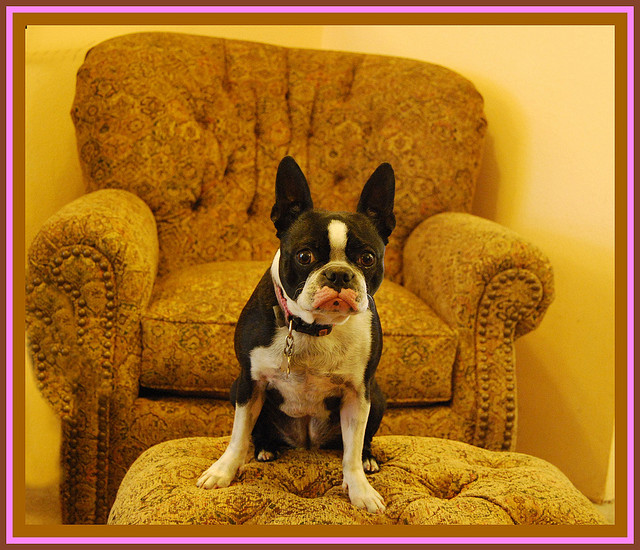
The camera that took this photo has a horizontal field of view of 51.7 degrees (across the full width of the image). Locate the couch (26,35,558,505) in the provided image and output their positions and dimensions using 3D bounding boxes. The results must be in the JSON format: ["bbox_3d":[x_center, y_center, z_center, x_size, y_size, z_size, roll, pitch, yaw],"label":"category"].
[{"bbox_3d":[-0.177,-0.101,3.292,2.147,2.062,1.744,2,8,-11],"label":"couch"}]

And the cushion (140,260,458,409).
[{"bbox_3d":[-0.316,0.041,2.935,0.765,0.309,0.745,4,10,-6],"label":"cushion"}]

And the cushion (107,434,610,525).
[{"bbox_3d":[0.110,0.717,2.194,1.577,0.188,0.537,4,12,-6],"label":"cushion"}]

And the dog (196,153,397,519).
[{"bbox_3d":[-0.045,0.218,2.356,0.570,1.089,1.076,4,-6,-4],"label":"dog"}]
